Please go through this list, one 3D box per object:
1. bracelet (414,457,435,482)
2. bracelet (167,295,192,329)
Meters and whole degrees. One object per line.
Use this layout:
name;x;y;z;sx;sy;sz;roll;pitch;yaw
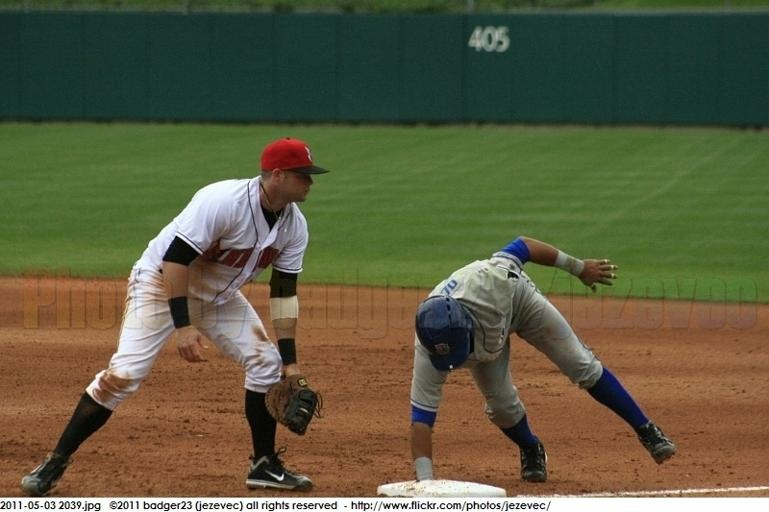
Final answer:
bracelet;0.545;3.104;21.099;0.284;0.358;0.279;3;8;1
bracelet;-2.968;0.822;21.083;0.318;0.467;0.199;1;8;-8
